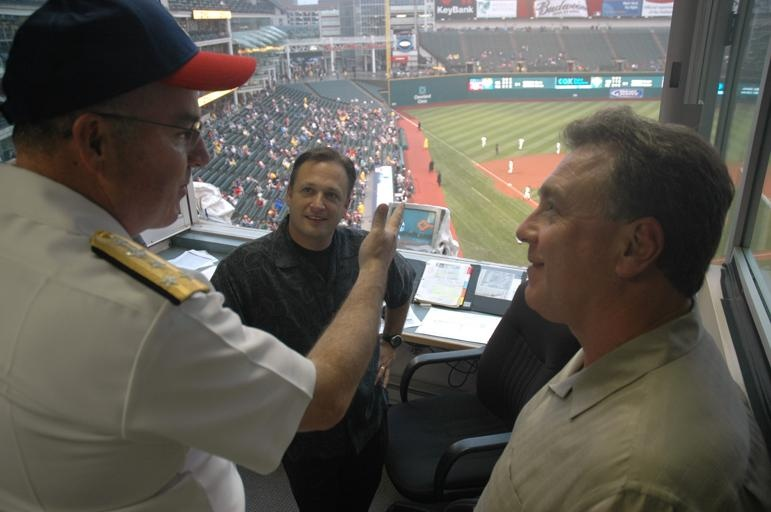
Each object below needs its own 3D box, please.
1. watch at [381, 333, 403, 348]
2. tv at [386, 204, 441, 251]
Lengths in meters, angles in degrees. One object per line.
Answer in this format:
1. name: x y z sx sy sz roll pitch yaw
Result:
1. watch: 0.032 0.361 2.362 0.078 0.052 0.074 9 -12 -43
2. tv: 0.165 -0.151 2.798 0.224 0.266 0.036 11 20 14
